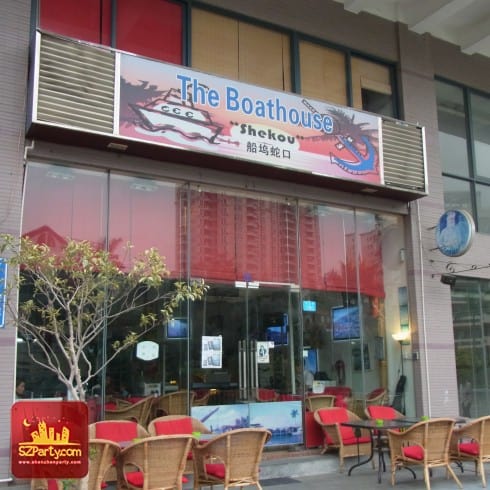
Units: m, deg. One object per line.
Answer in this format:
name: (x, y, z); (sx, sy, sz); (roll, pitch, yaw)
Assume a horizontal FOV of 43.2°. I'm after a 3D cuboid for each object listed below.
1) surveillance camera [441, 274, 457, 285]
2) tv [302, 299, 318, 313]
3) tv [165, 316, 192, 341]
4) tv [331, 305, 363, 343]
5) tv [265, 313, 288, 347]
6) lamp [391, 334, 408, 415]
surveillance camera: (3.803, 0.669, 11.527); (0.237, 0.228, 0.165); (8, 6, 38)
tv: (1.094, 1.044, 10.542); (0.312, 0.223, 0.021); (6, -14, -35)
tv: (-1.014, 1.242, 9.158); (0.485, 0.435, 0.048); (7, -17, -28)
tv: (1.753, 1.396, 10.871); (0.677, 0.612, 0.066); (6, -14, -27)
tv: (0.522, 1.389, 10.112); (0.452, 0.483, 0.043); (6, -14, -36)
lamp: (2.878, 2.485, 11.523); (0.372, 1.467, 0.359); (1, 0, -3)
